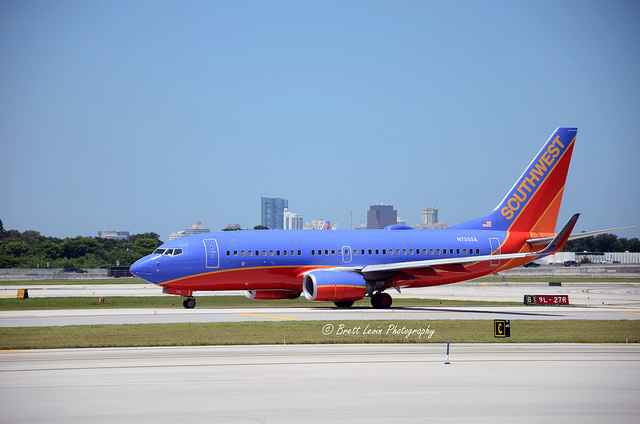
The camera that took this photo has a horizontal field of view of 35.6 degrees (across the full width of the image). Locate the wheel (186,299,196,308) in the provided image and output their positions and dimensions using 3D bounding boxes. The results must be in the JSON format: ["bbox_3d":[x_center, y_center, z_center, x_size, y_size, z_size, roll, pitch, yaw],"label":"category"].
[{"bbox_3d":[-8.735,6.069,66.355,0.678,0.576,0.237,-3,-1,-15],"label":"wheel"}]

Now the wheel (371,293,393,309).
[{"bbox_3d":[4.108,5.933,66.955,1.104,0.974,1.250,-1,-6,-18],"label":"wheel"}]

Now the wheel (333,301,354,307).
[{"bbox_3d":[1.611,6.153,67.297,1.183,0.522,1.438,-1,3,-5],"label":"wheel"}]
